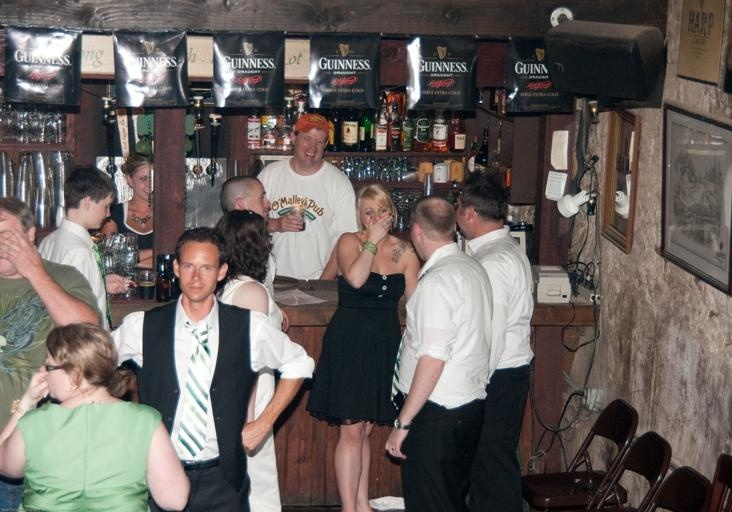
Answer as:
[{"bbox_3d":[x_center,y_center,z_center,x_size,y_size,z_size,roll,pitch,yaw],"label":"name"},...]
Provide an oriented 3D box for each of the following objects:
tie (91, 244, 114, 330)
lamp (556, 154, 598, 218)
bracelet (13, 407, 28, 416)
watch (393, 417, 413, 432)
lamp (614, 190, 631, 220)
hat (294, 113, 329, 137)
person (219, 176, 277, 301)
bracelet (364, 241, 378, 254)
[{"bbox_3d":[-1.559,0.190,4.715,0.080,0.561,0.050,-6,7,-10],"label":"tie"},{"bbox_3d":[1.564,-0.510,5.889,0.262,0.458,0.642,2,6,16],"label":"lamp"},{"bbox_3d":[-1.568,0.687,3.621,0.050,0.040,0.051,1,-2,-30],"label":"bracelet"},{"bbox_3d":[0.198,0.914,4.374,0.095,0.085,0.082,1,5,6],"label":"watch"},{"bbox_3d":[1.724,-0.362,5.396,0.044,0.159,0.109,-2,-3,-33],"label":"lamp"},{"bbox_3d":[-0.451,-1.014,6.274,0.222,0.173,0.375,5,-4,-10],"label":"hat"},{"bbox_3d":[-0.799,-0.182,5.089,0.310,0.659,0.721,-2,21,-7],"label":"person"},{"bbox_3d":[0.028,-0.052,4.969,0.073,0.059,0.074,1,1,41],"label":"bracelet"}]
